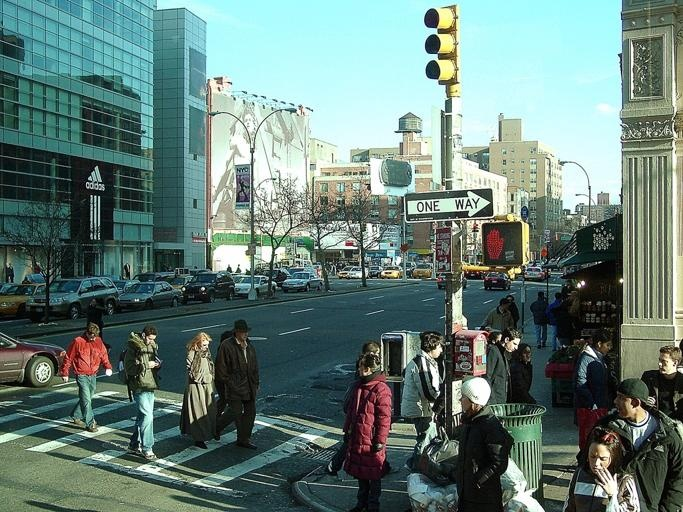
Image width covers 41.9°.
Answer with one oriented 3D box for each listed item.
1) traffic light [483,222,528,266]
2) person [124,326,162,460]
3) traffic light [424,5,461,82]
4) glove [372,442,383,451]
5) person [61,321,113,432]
[{"bbox_3d":[2.516,-0.192,13.766,0.708,0.688,0.586,-1,0,12],"label":"traffic light"},{"bbox_3d":[-3.727,2.522,16.642,0.659,2.088,0.490,-1,1,27],"label":"person"},{"bbox_3d":[1.571,-3.333,14.020,0.591,1.238,0.409,-1,1,-14],"label":"traffic light"},{"bbox_3d":[0.570,2.988,14.001,0.110,0.112,0.114,-1,2,-28],"label":"glove"},{"bbox_3d":[-5.206,2.310,18.173,0.970,2.298,0.882,0,3,-36],"label":"person"}]
